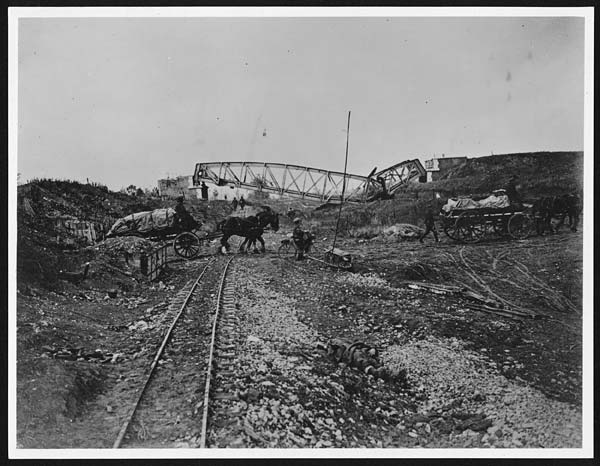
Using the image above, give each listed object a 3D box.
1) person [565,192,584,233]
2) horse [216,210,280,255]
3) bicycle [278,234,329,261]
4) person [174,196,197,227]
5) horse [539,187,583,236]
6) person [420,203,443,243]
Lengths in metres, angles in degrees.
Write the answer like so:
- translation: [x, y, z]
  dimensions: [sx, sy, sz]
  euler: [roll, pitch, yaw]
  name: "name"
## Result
- translation: [5.444, -0.436, 9.755]
  dimensions: [0.289, 0.788, 0.202]
  euler: [1, 3, 30]
  name: "person"
- translation: [-1.364, -0.036, 13.064]
  dimensions: [1.626, 1.131, 0.960]
  euler: [-1, 2, -4]
  name: "horse"
- translation: [0.066, 0.338, 12.058]
  dimensions: [1.110, 0.762, 0.594]
  euler: [1, 3, 12]
  name: "bicycle"
- translation: [-2.734, -0.513, 11.499]
  dimensions: [0.400, 0.700, 0.932]
  euler: [0, 2, 2]
  name: "person"
- translation: [5.311, -0.447, 10.004]
  dimensions: [0.795, 0.943, 0.430]
  euler: [1, 3, 40]
  name: "horse"
- translation: [2.944, -0.207, 10.950]
  dimensions: [0.704, 0.987, 0.265]
  euler: [2, -14, 9]
  name: "person"
